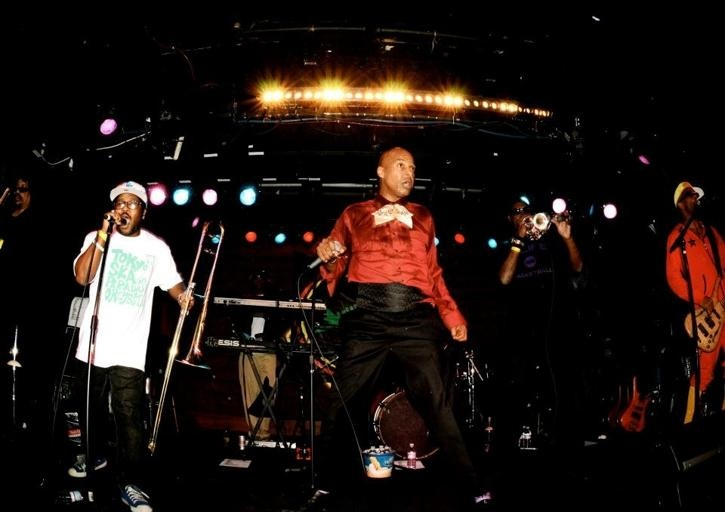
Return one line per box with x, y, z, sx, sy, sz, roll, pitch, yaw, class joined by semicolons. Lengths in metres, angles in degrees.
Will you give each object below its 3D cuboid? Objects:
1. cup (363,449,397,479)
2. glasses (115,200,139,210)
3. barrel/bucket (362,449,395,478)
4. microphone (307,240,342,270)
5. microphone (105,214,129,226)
0.163;2.050;5.869;0.283;0.190;0.285;-2;-7;0;cup
-2.192;-0.467;5.564;0.215;0.086;0.178;-5;11;-22;glasses
0.157;2.042;5.868;0.280;0.180;0.288;-1;-10;0;barrel/bucket
-0.305;-0.014;5.216;0.387;0.131;0.158;-35;-55;30;microphone
-2.093;-0.311;5.085;0.162;0.098;0.121;-3;10;-15;microphone
